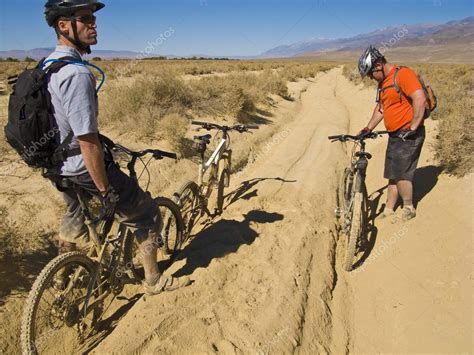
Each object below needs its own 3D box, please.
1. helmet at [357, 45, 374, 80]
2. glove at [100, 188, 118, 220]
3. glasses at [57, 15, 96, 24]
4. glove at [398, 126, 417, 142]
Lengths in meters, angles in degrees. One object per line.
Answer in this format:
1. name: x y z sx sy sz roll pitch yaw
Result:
1. helmet: 2.419 -2.077 7.638 0.208 0.582 0.397 -3 23 -23
2. glove: -1.750 0.363 5.802 0.289 0.389 0.145 12 6 27
3. glasses: -2.119 -2.116 5.615 0.434 0.102 0.143 2 26 -3
4. glove: 3.071 -0.763 7.604 0.264 0.302 0.206 14 29 20
